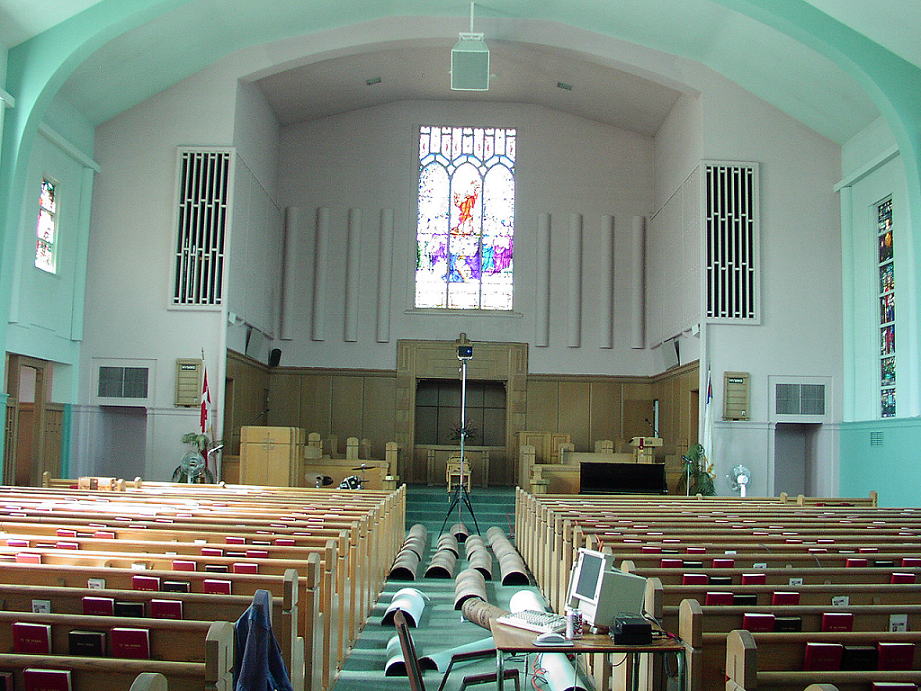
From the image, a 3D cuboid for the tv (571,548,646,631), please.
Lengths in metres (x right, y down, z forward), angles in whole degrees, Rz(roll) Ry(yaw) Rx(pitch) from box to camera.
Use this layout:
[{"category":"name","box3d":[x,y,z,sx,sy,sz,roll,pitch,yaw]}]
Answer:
[{"category":"tv","box3d":[0.940,1.527,5.013,0.376,0.570,0.563,4,-11,-12]}]

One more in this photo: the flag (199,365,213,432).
[{"category":"flag","box3d":[-4.931,1.047,14.724,0.215,1.354,0.594,3,-6,-18]}]

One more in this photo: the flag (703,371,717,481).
[{"category":"flag","box3d":[4.947,1.552,15.046,0.228,2.146,0.604,-1,-6,23]}]

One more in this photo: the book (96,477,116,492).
[{"category":"book","box3d":[-4.900,1.882,10.504,0.255,0.203,0.147,2,3,10]}]

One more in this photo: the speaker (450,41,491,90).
[{"category":"speaker","box3d":[0.172,-4.809,13.258,0.671,0.758,0.745,0,4,-4]}]
